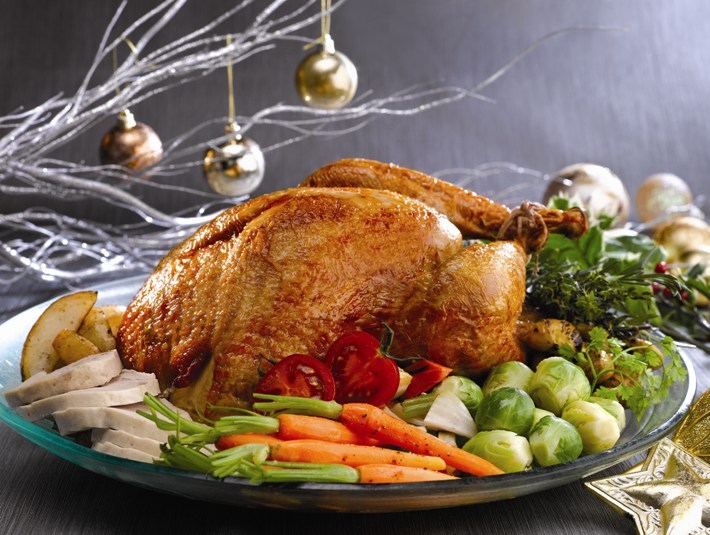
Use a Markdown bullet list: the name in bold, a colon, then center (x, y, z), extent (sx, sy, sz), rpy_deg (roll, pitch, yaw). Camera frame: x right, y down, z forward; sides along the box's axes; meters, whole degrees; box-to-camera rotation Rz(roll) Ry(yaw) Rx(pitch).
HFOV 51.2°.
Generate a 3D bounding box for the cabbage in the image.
- **cabbage**: center (0.506, 0.433, 2.411), extent (0.666, 0.296, 0.331), rpy_deg (-9, 14, -20)

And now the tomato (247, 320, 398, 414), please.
- **tomato**: center (-0.088, 0.316, 2.278), extent (0.394, 0.228, 0.103), rpy_deg (-13, -23, -16)

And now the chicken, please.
- **chicken**: center (-0.045, 0.064, 2.582), extent (1.244, 0.435, 0.854), rpy_deg (-21, 31, -5)
